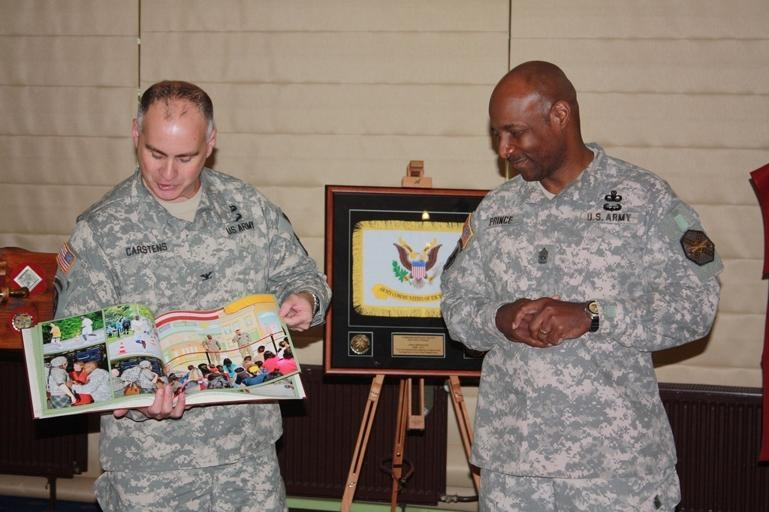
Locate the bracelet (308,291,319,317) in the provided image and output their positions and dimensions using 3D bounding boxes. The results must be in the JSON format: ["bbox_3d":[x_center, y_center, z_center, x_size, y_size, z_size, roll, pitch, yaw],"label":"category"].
[{"bbox_3d":[-0.341,0.232,3.924,0.039,0.114,0.050,-9,-9,21],"label":"bracelet"}]

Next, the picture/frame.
[{"bbox_3d":[0.129,0.176,4.511,1.124,1.070,0.077,1,-3,-8],"label":"picture/frame"}]
